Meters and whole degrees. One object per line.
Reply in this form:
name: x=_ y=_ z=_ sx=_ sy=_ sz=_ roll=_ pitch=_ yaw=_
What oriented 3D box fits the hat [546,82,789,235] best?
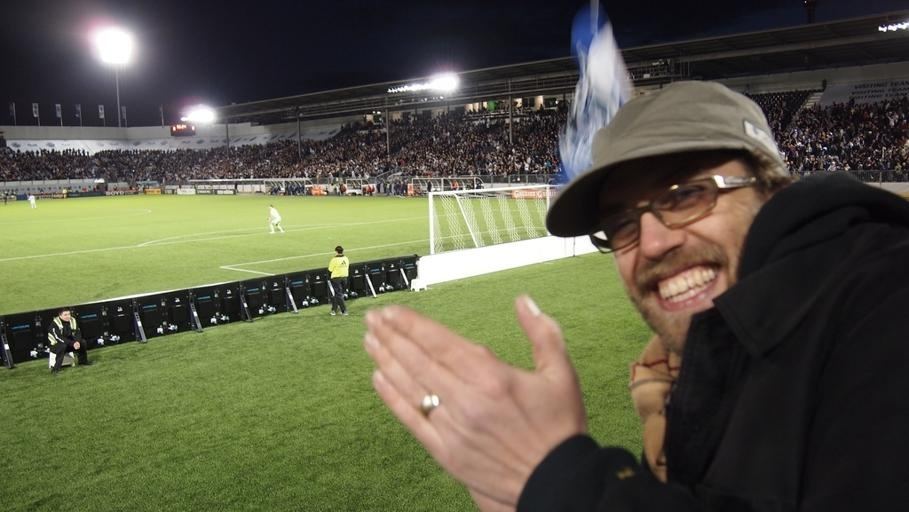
hat: x=0.761 y=-0.454 z=2.029 sx=0.603 sy=0.294 sz=0.452 roll=0 pitch=15 yaw=20

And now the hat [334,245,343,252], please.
hat: x=-3.751 y=-0.216 z=18.061 sx=0.231 sy=0.244 sz=0.250 roll=5 pitch=34 yaw=-12

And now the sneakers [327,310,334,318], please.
sneakers: x=-3.084 y=1.459 z=13.976 sx=0.134 sy=0.154 sz=0.389 roll=-5 pitch=0 yaw=-37

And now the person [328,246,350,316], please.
person: x=-2.959 y=0.586 z=14.337 sx=0.503 sy=1.614 sz=1.487 roll=-4 pitch=11 yaw=-12

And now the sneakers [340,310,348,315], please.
sneakers: x=-2.745 y=1.395 z=13.940 sx=0.144 sy=0.134 sz=0.307 roll=-1 pitch=10 yaw=5

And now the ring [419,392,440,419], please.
ring: x=-0.065 y=0.383 z=1.451 sx=0.059 sy=0.056 sz=0.014 roll=-16 pitch=-23 yaw=40
